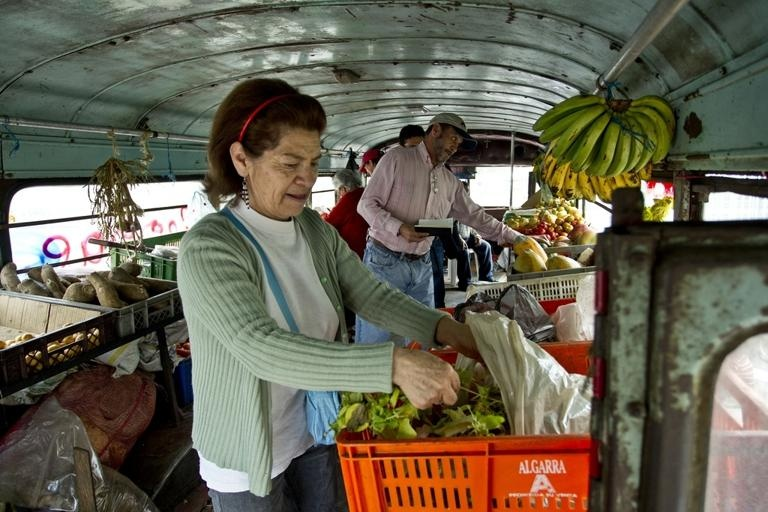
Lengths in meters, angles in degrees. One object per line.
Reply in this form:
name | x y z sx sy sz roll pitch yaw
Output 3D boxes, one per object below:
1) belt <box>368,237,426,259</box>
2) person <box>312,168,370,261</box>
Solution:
belt | 0.045 -0.051 4.524 0.264 0.073 0.252 15 -6 37
person | -0.436 -0.623 6.323 0.683 0.552 1.286 -5 29 3
